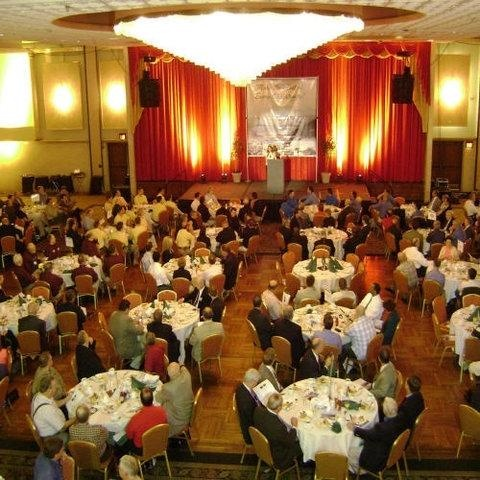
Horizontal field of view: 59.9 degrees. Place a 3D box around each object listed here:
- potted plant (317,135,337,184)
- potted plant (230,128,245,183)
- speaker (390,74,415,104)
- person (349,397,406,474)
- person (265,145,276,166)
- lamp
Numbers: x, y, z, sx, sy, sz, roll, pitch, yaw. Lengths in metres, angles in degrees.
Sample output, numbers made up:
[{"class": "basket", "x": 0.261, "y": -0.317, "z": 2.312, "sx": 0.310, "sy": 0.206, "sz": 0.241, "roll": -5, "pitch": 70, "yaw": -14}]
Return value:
[{"class": "potted plant", "x": 3.965, "y": -3.666, "z": 19.076, "sx": 0.732, "sy": 2.101, "sz": 0.586, "roll": -9, "pitch": 10, "yaw": -33}, {"class": "potted plant", "x": -0.101, "y": -3.961, "z": 19.535, "sx": 0.745, "sy": 2.285, "sz": 0.599, "roll": -3, "pitch": 8, "yaw": 0}, {"class": "speaker", "x": 5.410, "y": -5.038, "z": 13.884, "sx": 0.641, "sy": 0.927, "sz": 0.589, "roll": -1, "pitch": 9, "yaw": 16}, {"class": "person", "x": 1.263, "y": 1.864, "z": 3.842, "sx": 0.407, "sy": 0.890, "sz": 0.255, "roll": 0, "pitch": 9, "yaw": 21}, {"class": "person", "x": 1.362, "y": -3.611, "z": 17.740, "sx": 0.764, "sy": 0.911, "sz": 0.960, "roll": 0, "pitch": 15, "yaw": 5}, {"class": "lamp", "x": -0.030, "y": -2.217, "z": 4.632, "sx": 2.429, "sy": 0.645, "sz": 1.003, "roll": -1, "pitch": 9, "yaw": 15}]
